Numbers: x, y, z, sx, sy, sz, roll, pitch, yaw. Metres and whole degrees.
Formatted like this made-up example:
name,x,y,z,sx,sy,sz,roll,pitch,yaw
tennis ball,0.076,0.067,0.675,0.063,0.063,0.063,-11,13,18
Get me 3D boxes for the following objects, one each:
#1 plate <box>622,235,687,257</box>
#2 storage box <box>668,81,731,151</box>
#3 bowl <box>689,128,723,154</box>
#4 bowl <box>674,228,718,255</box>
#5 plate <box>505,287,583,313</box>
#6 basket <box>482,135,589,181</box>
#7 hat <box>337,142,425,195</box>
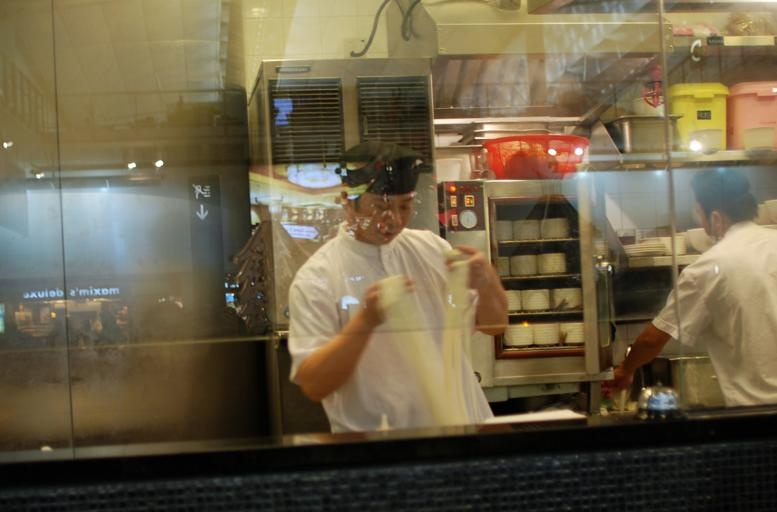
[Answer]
name,x,y,z,sx,sy,sz,roll,pitch,yaw
plate,0.770,-0.027,2.108,0.218,0.057,0.053,-3,2,-29
storage box,0.935,-0.412,2.264,0.176,0.207,0.172,-1,-1,0
bowl,0.948,-0.337,2.217,0.091,0.058,0.089,1,-8,0
bowl,0.892,-0.052,2.166,0.097,0.063,0.088,0,5,4
plate,0.435,0.123,2.053,0.198,0.062,0.014,-2,1,4
basket,0.409,-0.273,2.011,0.174,0.061,0.170,-1,-4,-1
hat,-0.017,-0.250,2.123,0.287,0.160,0.255,6,8,32
